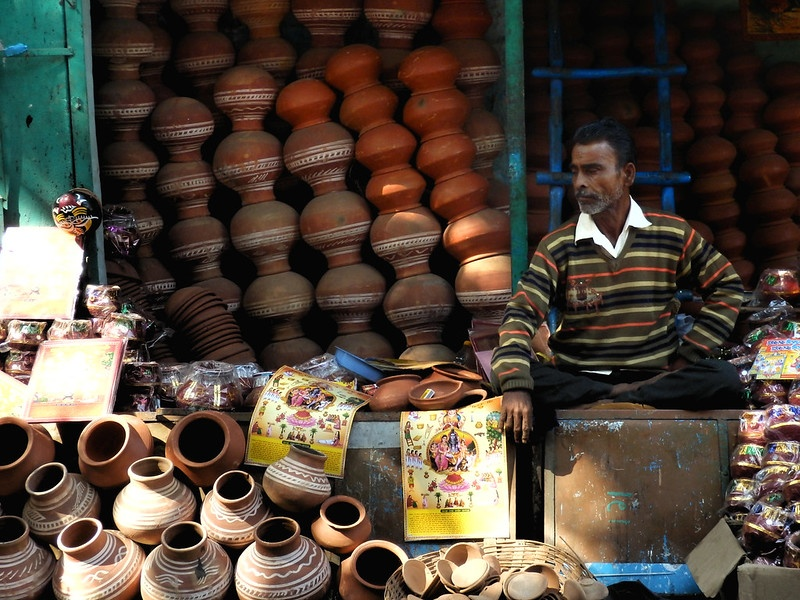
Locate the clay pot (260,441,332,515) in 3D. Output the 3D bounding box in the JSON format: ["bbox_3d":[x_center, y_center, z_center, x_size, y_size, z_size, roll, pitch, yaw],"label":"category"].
[{"bbox_3d":[-0.402,0.729,3.269,0.285,0.247,0.289,9,-10,2],"label":"clay pot"}]

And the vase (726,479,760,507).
[{"bbox_3d":[1.426,0.801,3.295,0.125,0.107,0.118,3,-17,11],"label":"vase"}]

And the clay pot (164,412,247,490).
[{"bbox_3d":[-0.831,0.622,3.408,0.374,0.320,0.242,-7,-20,-11],"label":"clay pot"}]

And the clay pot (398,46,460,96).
[{"bbox_3d":[0.157,-1.278,4.480,0.341,0.211,0.324,-9,16,3],"label":"clay pot"}]

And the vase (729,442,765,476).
[{"bbox_3d":[1.454,0.688,3.379,0.138,0.149,0.142,17,-19,2],"label":"vase"}]

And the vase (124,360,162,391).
[{"bbox_3d":[-1.187,0.343,3.681,0.158,0.095,0.055,-5,-2,-11],"label":"vase"}]

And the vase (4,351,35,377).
[{"bbox_3d":[-1.781,0.310,3.797,0.141,0.115,0.132,0,-12,6],"label":"vase"}]

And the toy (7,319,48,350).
[{"bbox_3d":[-1.750,0.165,3.731,0.179,0.105,0.141,1,0,-27],"label":"toy"}]

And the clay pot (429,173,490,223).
[{"bbox_3d":[0.377,-0.581,4.507,0.303,0.194,0.296,-25,-2,-1],"label":"clay pot"}]

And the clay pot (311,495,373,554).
[{"bbox_3d":[-0.224,0.909,3.286,0.243,0.189,0.235,8,32,-5],"label":"clay pot"}]

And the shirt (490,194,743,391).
[{"bbox_3d":[0.970,-0.045,3.630,1.367,0.768,0.689,-5,11,-14],"label":"shirt"}]

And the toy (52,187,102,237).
[{"bbox_3d":[-1.592,-0.425,3.924,0.245,0.246,0.267,-7,27,-12],"label":"toy"}]

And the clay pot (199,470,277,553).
[{"bbox_3d":[-0.626,0.864,3.304,0.328,0.281,0.296,8,39,7],"label":"clay pot"}]

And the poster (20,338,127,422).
[{"bbox_3d":[-1.457,0.337,3.523,0.416,0.355,0.092,2,-25,10],"label":"poster"}]

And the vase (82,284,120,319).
[{"bbox_3d":[-1.406,0.000,3.838,0.166,0.137,0.163,1,2,27],"label":"vase"}]
